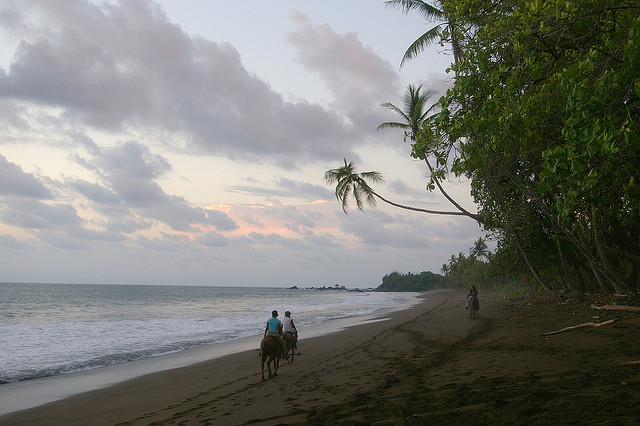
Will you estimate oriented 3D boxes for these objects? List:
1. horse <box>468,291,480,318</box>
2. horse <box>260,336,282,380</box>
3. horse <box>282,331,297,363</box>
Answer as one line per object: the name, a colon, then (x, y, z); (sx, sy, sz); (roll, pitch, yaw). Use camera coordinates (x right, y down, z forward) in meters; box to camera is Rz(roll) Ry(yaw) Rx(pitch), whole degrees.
horse: (8.767, 5.347, 22.703); (0.550, 1.042, 1.179); (-6, -16, 16)
horse: (-1.958, 5.716, 15.952); (0.508, 1.569, 1.337); (-6, -16, 18)
horse: (-1.335, 5.809, 17.424); (0.423, 1.303, 1.154); (-2, -15, 3)
